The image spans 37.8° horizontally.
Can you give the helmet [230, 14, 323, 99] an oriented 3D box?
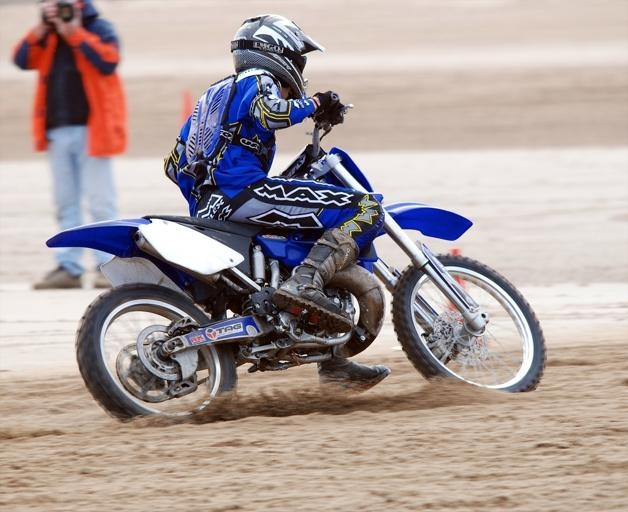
[{"bbox_3d":[-0.264,-1.260,5.692,0.740,0.370,0.426,-1,5,-17],"label":"helmet"}]
